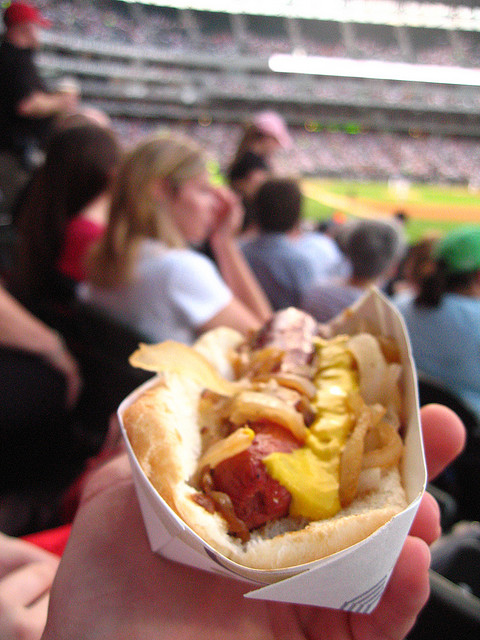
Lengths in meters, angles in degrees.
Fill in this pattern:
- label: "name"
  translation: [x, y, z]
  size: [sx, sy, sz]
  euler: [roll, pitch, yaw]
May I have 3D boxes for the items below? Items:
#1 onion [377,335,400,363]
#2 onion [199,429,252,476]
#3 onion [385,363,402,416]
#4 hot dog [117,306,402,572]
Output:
- label: "onion"
  translation: [0.185, 0.037, 0.701]
  size: [0.027, 0.015, 0.023]
  euler: [57, 33, -2]
- label: "onion"
  translation: [-0.014, 0.123, 0.522]
  size: [0.016, 0.056, 0.033]
  euler: [37, 22, -28]
- label: "onion"
  translation: [0.178, 0.081, 0.639]
  size: [0.014, 0.017, 0.065]
  euler: [19, 53, -20]
- label: "hot dog"
  translation: [0.039, 0.113, 0.624]
  size: [0.271, 0.125, 0.356]
  euler: [17, 30, 12]
